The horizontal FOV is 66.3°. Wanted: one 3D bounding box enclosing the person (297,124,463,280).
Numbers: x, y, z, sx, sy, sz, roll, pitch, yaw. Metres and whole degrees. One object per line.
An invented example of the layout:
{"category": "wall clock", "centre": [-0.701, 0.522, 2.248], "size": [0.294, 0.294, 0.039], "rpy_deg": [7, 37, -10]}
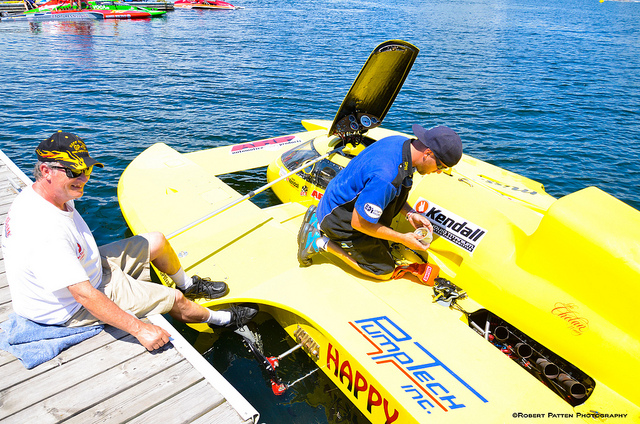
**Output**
{"category": "person", "centre": [0.641, -0.128, 6.030], "size": [1.556, 2.110, 0.876], "rpy_deg": [14, 41, 1]}

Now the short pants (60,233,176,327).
{"category": "short pants", "centre": [-2.089, 0.718, 5.499], "size": [0.778, 0.577, 0.864], "rpy_deg": [-8, 42, -24]}

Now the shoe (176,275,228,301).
{"category": "shoe", "centre": [-1.426, 0.952, 6.133], "size": [0.652, 0.240, 0.240], "rpy_deg": [-3, 56, -4]}
